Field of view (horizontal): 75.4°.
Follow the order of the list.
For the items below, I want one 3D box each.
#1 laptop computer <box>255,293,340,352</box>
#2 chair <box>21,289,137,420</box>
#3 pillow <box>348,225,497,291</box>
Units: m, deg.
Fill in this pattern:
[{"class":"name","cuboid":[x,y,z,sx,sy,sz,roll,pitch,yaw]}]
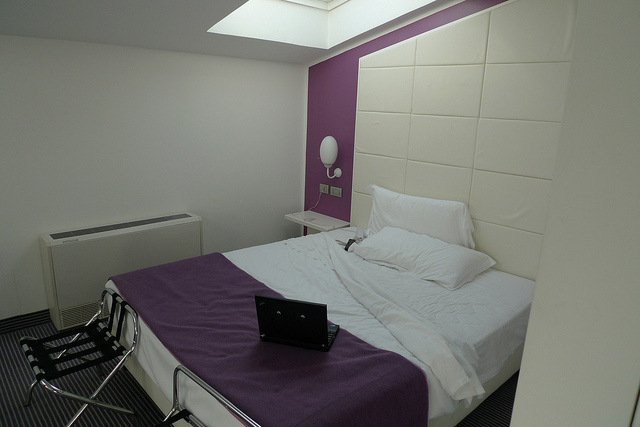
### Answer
[{"class":"laptop computer","cuboid":[-0.134,0.615,2.440,0.453,0.335,0.326,8,36,16]},{"class":"chair","cuboid":[-1.631,1.001,2.797,0.575,0.797,0.736,-7,18,-41]},{"class":"pillow","cuboid":[0.825,0.363,3.611,0.662,0.239,1.137,-21,26,-40]}]
